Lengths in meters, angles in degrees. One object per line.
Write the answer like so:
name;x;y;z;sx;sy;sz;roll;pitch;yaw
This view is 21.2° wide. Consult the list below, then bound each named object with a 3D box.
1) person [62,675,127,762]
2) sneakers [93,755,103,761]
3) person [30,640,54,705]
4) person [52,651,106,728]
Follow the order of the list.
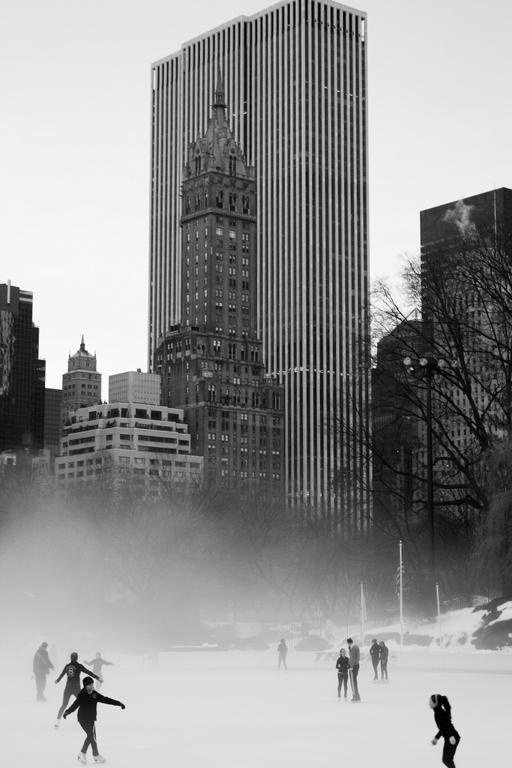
person;-2.605;5.253;21.647;0.542;1.248;2.658;1;-9;-7
sneakers;-2.365;5.684;20.791;0.136;0.117;0.351;1;-10;-7
person;-4.798;6.510;30.971;0.371;1.356;2.508;1;-9;-9
person;-3.363;5.632;25.550;0.688;1.655;0.384;4;18;-9
